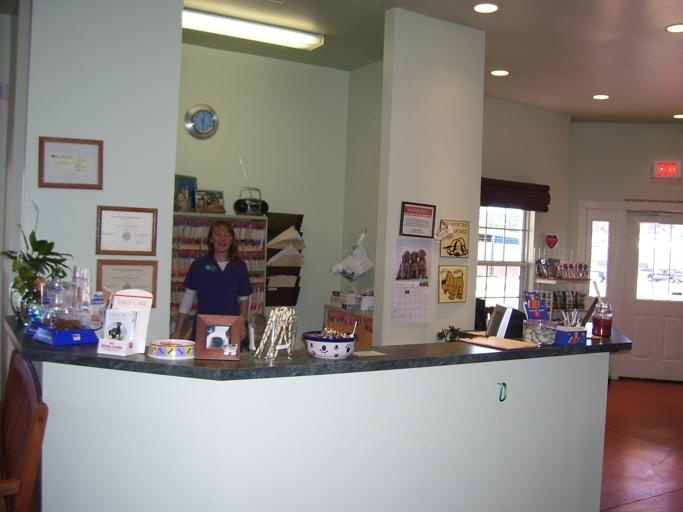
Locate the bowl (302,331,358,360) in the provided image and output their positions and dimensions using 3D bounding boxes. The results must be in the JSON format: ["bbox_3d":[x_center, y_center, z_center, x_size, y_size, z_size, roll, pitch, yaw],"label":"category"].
[{"bbox_3d":[-0.066,0.465,2.916,0.278,0.135,0.194,7,12,3],"label":"bowl"}]

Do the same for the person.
[{"bbox_3d":[-1.025,0.197,4.529,0.584,0.958,0.397,4,11,-10],"label":"person"}]

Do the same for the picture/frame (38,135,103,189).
[{"bbox_3d":[-1.830,-0.631,3.691,0.326,0.338,0.024,0,-1,-16],"label":"picture/frame"}]

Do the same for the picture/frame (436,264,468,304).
[{"bbox_3d":[1.011,0.257,5.123,0.340,0.375,0.034,1,-1,-37],"label":"picture/frame"}]

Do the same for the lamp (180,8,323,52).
[{"bbox_3d":[-0.818,-2.137,5.265,1.314,0.118,0.428,3,13,-19],"label":"lamp"}]

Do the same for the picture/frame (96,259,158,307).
[{"bbox_3d":[-1.367,0.165,3.467,0.299,0.284,0.028,0,-3,-16],"label":"picture/frame"}]

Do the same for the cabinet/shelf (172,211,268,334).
[{"bbox_3d":[-1.033,0.481,4.512,0.637,1.557,0.463,2,-5,-13],"label":"cabinet/shelf"}]

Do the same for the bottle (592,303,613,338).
[{"bbox_3d":[1.880,0.464,3.971,0.140,0.215,0.360,12,13,27],"label":"bottle"}]

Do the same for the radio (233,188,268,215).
[{"bbox_3d":[-0.990,-0.575,5.910,0.314,0.308,0.174,0,-1,-35],"label":"radio"}]

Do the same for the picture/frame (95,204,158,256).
[{"bbox_3d":[-1.498,-0.180,3.794,0.318,0.326,0.027,0,0,-17],"label":"picture/frame"}]

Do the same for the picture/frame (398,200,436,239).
[{"bbox_3d":[0.655,-0.327,4.900,0.309,0.285,0.026,3,1,-32],"label":"picture/frame"}]

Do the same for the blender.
[{"bbox_3d":[-1.466,0.288,2.908,0.410,0.302,0.274,13,13,28],"label":"blender"}]

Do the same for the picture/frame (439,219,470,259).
[{"bbox_3d":[1.034,-0.163,5.119,0.322,0.351,0.035,-4,14,-29],"label":"picture/frame"}]

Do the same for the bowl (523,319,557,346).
[{"bbox_3d":[1.261,0.488,3.517,0.156,0.150,0.158,1,-2,0],"label":"bowl"}]
